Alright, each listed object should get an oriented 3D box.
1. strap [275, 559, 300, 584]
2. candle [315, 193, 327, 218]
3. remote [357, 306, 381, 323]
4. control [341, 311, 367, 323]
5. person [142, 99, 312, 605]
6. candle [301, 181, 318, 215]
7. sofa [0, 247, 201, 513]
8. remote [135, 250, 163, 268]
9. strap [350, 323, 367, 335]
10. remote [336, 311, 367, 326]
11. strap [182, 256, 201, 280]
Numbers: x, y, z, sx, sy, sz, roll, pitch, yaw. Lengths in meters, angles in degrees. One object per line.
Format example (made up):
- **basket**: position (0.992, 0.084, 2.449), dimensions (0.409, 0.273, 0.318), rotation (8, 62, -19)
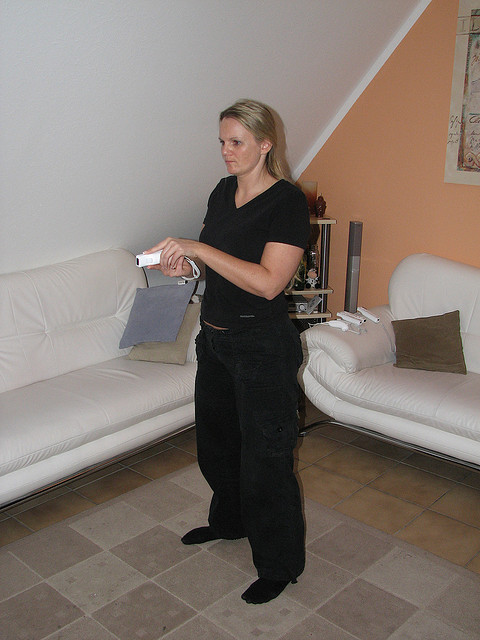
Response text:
- **strap**: position (0.137, 0.728, 1.482), dimensions (0.083, 0.024, 0.081), rotation (2, 27, -9)
- **candle**: position (0.550, -0.779, 3.515), dimensions (0.069, 0.151, 0.142), rotation (1, 8, 8)
- **remote**: position (0.709, -0.029, 2.840), dimensions (0.042, 0.033, 0.163), rotation (-4, 29, -28)
- **control**: position (0.618, -0.031, 2.794), dimensions (0.143, 0.041, 0.038), rotation (26, 60, 27)
- **person**: position (-0.006, 0.130, 1.465), dimensions (0.405, 1.378, 0.532), rotation (1, 8, 9)
- **candle**: position (0.479, -0.847, 3.521), dimensions (0.104, 0.230, 0.222), rotation (1, 8, 7)
- **sofa**: position (-0.634, 0.295, 2.290), dimensions (0.592, 0.531, 1.043), rotation (19, 28, 37)
- **remote**: position (-0.235, -0.159, 1.318), dimensions (0.059, 0.042, 0.183), rotation (-2, 7, -13)
- **strap**: position (0.618, 0.035, 2.679), dimensions (0.061, 0.020, 0.065), rotation (36, 38, 29)
- **remote**: position (0.593, -0.006, 2.770), dimensions (0.126, 0.027, 0.068), rotation (26, 31, 33)
- **strap**: position (-0.134, -0.140, 1.396), dimensions (0.014, 0.053, 0.045), rotation (-24, 21, -37)
